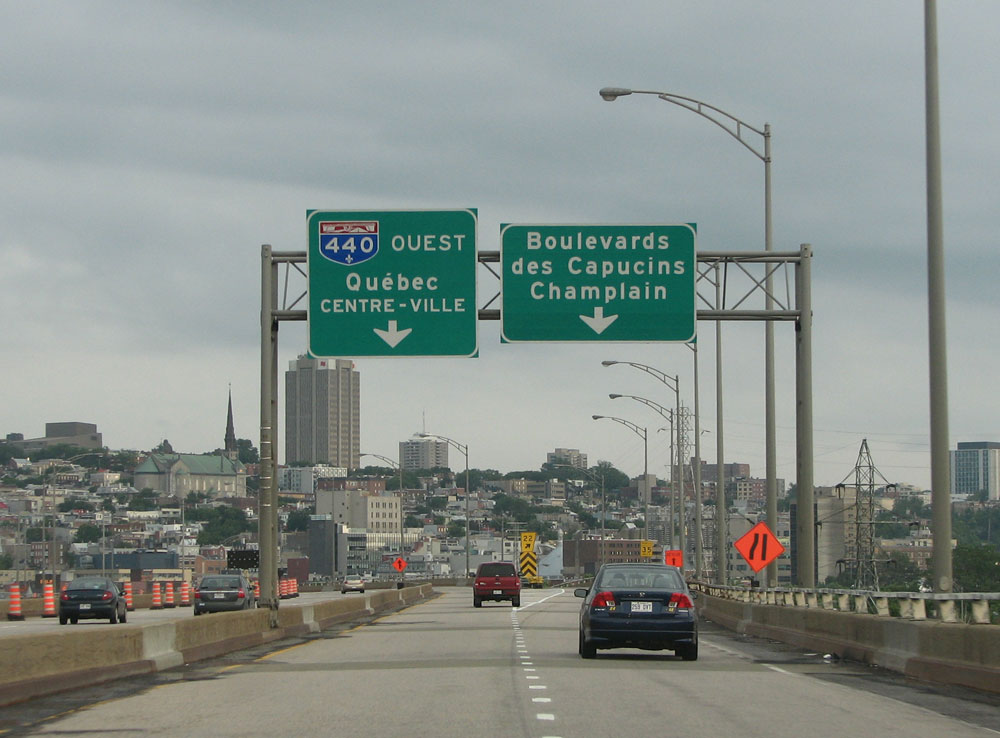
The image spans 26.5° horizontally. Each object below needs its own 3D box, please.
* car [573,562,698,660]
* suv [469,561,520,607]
[{"bbox_3d":[3.178,5.429,49.287,2.259,1.978,5.849,0,-3,2],"label":"car"},{"bbox_3d":[-0.097,8.188,81.947,1.754,1.760,2.476,-1,-8,2],"label":"suv"}]
